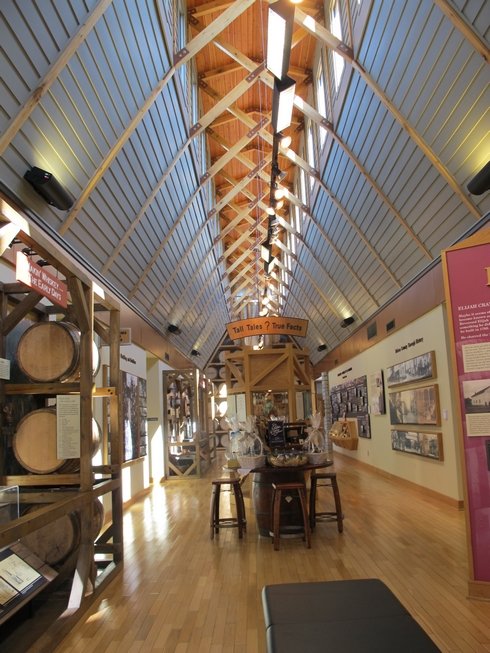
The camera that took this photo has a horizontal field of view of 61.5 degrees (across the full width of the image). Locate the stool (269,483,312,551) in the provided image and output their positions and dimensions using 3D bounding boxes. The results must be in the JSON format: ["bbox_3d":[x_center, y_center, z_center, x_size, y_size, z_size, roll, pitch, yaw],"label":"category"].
[{"bbox_3d":[0.416,1.780,3.932,0.362,0.569,0.464,-4,-9,1],"label":"stool"}]

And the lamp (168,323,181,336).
[{"bbox_3d":[-1.763,0.040,10.061,0.237,0.272,0.815,-4,-9,-2],"label":"lamp"}]

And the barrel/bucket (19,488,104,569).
[{"bbox_3d":[-1.203,1.395,3.002,0.426,0.464,0.451,-6,-1,0],"label":"barrel/bucket"}]

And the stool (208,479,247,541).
[{"bbox_3d":[-0.203,1.955,4.441,0.382,0.569,0.383,8,-18,-34],"label":"stool"}]

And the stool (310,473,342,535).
[{"bbox_3d":[0.883,1.917,4.538,0.365,0.576,0.385,1,-14,-16],"label":"stool"}]

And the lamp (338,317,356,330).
[{"bbox_3d":[2.602,-0.127,10.473,0.262,0.267,0.784,-4,-9,3],"label":"lamp"}]

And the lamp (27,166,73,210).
[{"bbox_3d":[-1.666,-1.194,3.554,0.137,0.138,0.470,-13,-3,-7],"label":"lamp"}]

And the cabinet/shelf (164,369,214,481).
[{"bbox_3d":[-1.603,2.927,12.666,0.810,2.732,5.311,-5,-12,-1],"label":"cabinet/shelf"}]

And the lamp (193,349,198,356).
[{"bbox_3d":[-1.718,0.897,14.066,0.166,0.192,0.320,-1,-7,2],"label":"lamp"}]

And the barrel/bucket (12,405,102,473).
[{"bbox_3d":[-1.428,0.826,2.939,0.379,0.464,0.209,-6,-9,13],"label":"barrel/bucket"}]
